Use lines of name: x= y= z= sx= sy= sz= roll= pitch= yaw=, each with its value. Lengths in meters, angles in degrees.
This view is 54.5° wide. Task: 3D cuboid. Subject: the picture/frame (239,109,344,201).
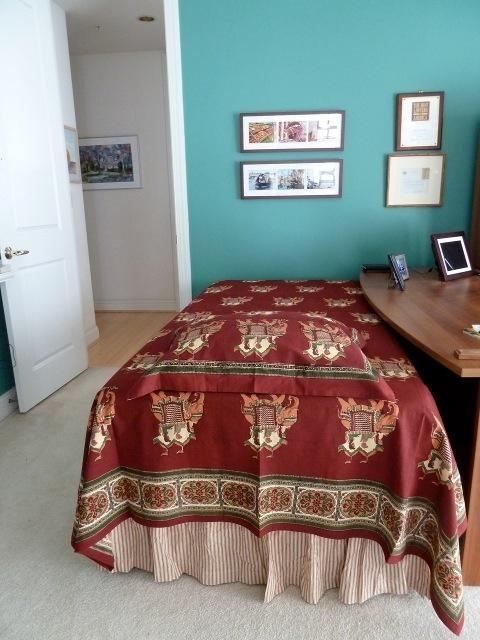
picture/frame: x=0.326 y=-1.019 z=2.804 sx=0.507 sy=0.418 sz=0.022 roll=0 pitch=16 yaw=2
